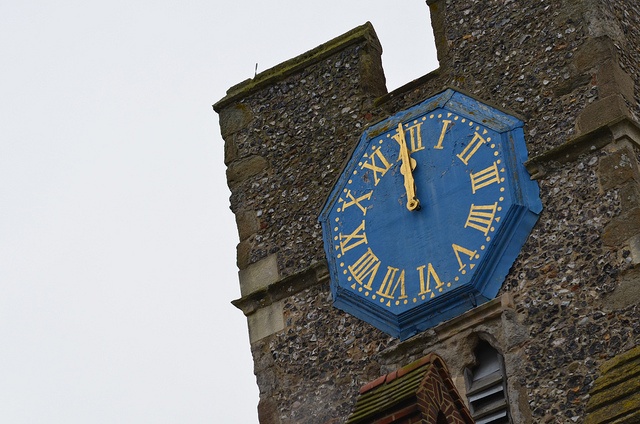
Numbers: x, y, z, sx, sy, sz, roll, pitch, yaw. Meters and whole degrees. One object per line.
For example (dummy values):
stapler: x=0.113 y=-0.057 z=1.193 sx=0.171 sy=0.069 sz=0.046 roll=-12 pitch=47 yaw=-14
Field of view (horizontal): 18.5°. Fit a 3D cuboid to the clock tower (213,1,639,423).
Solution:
clock tower: x=1.927 y=0.296 z=27.413 sx=5.354 sy=5.283 sz=0.948 roll=-17 pitch=-23 yaw=27
